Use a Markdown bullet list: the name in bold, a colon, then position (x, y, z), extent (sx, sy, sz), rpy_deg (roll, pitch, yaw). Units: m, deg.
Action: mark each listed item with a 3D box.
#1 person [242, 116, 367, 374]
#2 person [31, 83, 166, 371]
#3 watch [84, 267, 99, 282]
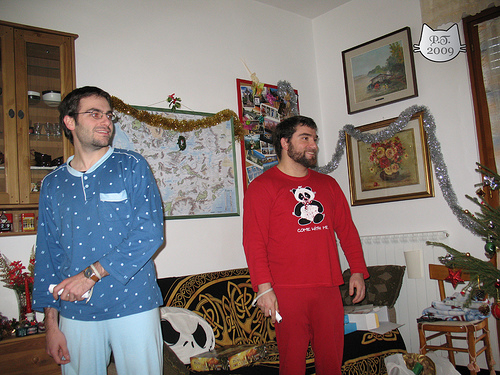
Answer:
- **person**: position (0.360, 0.335, 2.632), extent (0.832, 1.214, 0.376), rpy_deg (-3, -2, -27)
- **person**: position (-0.851, 0.206, 2.101), extent (0.745, 1.566, 0.349), rpy_deg (-5, -2, 19)
- **watch**: position (-0.790, 0.435, 1.988), extent (0.070, 0.046, 0.067), rpy_deg (35, -1, 35)
